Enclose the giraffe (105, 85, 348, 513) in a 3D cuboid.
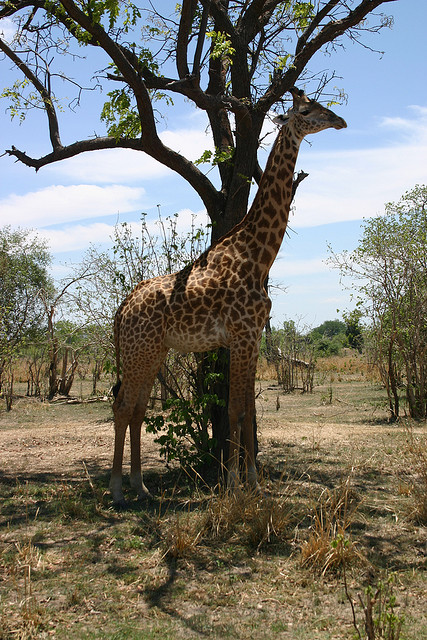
[{"bbox_3d":[-0.018,-0.281,6.018,1.998,3.884,0.846,0,-4,-6],"label":"giraffe"}]
